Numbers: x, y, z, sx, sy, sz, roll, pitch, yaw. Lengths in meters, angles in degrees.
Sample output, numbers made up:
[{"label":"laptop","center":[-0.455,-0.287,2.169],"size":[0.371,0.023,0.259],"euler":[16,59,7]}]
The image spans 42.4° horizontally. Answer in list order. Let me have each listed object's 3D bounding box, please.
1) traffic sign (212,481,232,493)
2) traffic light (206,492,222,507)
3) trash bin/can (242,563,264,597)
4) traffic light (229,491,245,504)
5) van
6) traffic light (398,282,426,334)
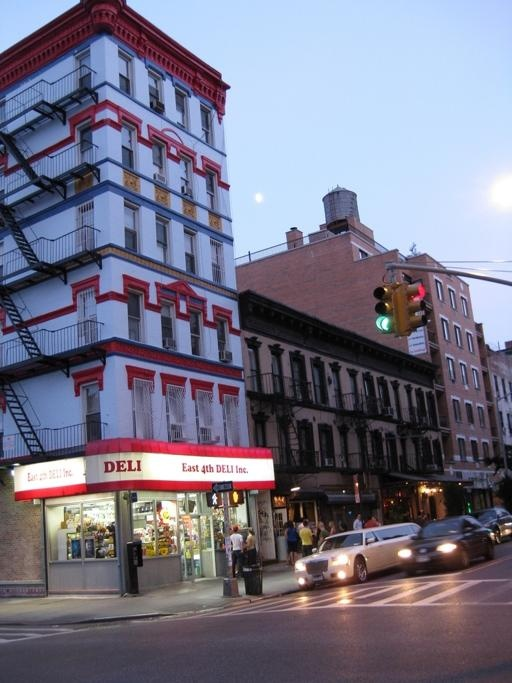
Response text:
[{"label":"traffic sign","center":[-0.936,4.046,18.340],"size":[0.377,0.294,0.759],"euler":[6,-20,-36]},{"label":"traffic light","center":[-1.196,4.475,18.712],"size":[0.373,0.413,0.515],"euler":[3,-19,-28]},{"label":"trash bin/can","center":[-0.086,6.250,17.290],"size":[0.418,0.744,0.439],"euler":[-5,-17,-3]},{"label":"traffic light","center":[-0.574,4.309,18.193],"size":[0.394,0.368,0.312],"euler":[0,-18,-19]},{"label":"van","center":[2.950,6.021,18.648],"size":[1.375,1.088,4.046],"euler":[-15,-17,30]},{"label":"traffic light","center":[2.414,-0.547,10.323],"size":[0.456,0.876,0.337],"euler":[-10,-17,13]}]
